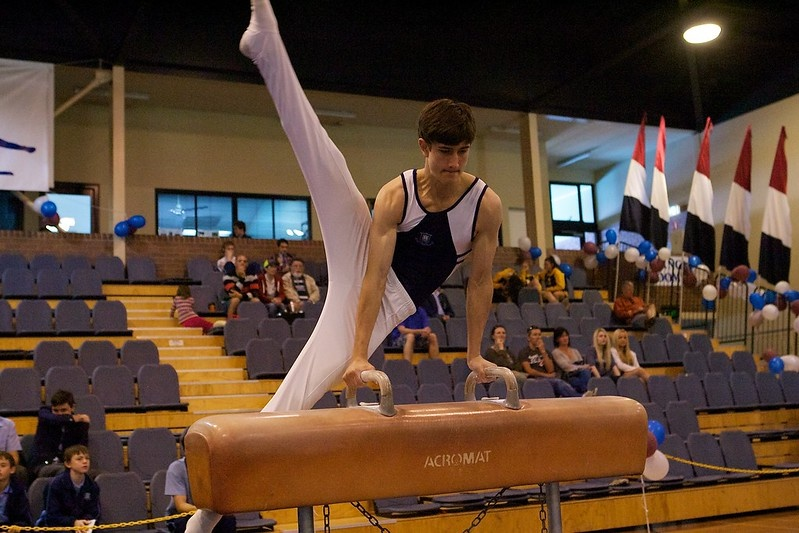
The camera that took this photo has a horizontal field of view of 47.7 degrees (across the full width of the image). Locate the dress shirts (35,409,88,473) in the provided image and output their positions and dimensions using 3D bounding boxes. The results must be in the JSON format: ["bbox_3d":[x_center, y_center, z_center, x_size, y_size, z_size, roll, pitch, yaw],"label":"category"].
[{"bbox_3d":[-4.538,2.377,12.196,0.407,0.624,0.418,25,-45,-33],"label":"dress shirts"}]

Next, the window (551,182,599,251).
[{"bbox_3d":[4.842,-1.363,25.426,1.799,2.333,0.369,6,-19,-30],"label":"window"}]

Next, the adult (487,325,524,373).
[{"bbox_3d":[1.686,1.336,14.590,0.488,0.849,0.463,6,-22,-41],"label":"adult"}]

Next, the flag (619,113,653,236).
[{"bbox_3d":[4.831,-1.836,18.334,0.488,2.721,0.463,11,37,25],"label":"flag"}]

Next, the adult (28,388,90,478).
[{"bbox_3d":[-4.639,2.335,12.392,0.671,1.263,0.629,7,-1,24],"label":"adult"}]

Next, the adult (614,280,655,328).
[{"bbox_3d":[4.562,0.825,17.623,0.527,0.810,1.005,-2,-6,-27],"label":"adult"}]

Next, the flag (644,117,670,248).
[{"bbox_3d":[5.333,-1.727,18.469,0.396,2.643,1.055,5,9,16],"label":"flag"}]

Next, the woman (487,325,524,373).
[{"bbox_3d":[1.686,1.336,14.590,0.488,0.849,0.463,6,-22,-41],"label":"woman"}]

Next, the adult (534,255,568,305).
[{"bbox_3d":[3.002,0.446,18.233,0.685,1.275,0.513,-1,-5,-12],"label":"adult"}]

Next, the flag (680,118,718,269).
[{"bbox_3d":[6.094,-1.469,18.258,0.631,3.022,0.764,-1,10,-23],"label":"flag"}]

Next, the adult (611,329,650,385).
[{"bbox_3d":[3.878,1.563,15.179,0.403,1.045,0.889,-3,1,-31],"label":"adult"}]

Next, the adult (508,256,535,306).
[{"bbox_3d":[2.440,0.313,18.148,0.574,0.777,2.173,6,4,13],"label":"adult"}]

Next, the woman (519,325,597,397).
[{"bbox_3d":[2.551,1.639,14.691,1.500,1.044,0.615,16,7,41],"label":"woman"}]

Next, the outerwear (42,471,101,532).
[{"bbox_3d":[-4.222,3.049,11.693,0.596,0.838,0.639,16,-17,-42],"label":"outerwear"}]

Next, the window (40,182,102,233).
[{"bbox_3d":[-7.111,-1.259,19.543,1.125,1.158,0.075,5,-7,-34],"label":"window"}]

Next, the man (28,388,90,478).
[{"bbox_3d":[-4.635,2.316,12.401,0.681,1.295,0.606,9,2,34],"label":"man"}]

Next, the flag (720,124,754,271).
[{"bbox_3d":[6.849,-1.375,18.283,0.544,2.881,0.932,6,10,22],"label":"flag"}]
